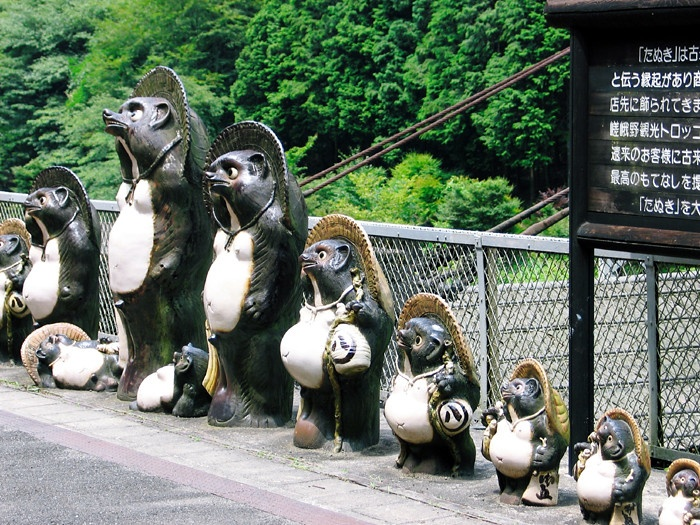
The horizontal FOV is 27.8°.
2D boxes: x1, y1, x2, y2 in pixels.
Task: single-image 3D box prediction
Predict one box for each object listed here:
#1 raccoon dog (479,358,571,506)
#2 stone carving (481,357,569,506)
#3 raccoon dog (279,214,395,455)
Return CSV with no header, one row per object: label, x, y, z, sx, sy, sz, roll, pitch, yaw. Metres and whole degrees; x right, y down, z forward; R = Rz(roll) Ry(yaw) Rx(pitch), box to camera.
raccoon dog,1.535,1.438,12.746,0.733,1.247,0.990,6,10,40
stone carving,1.527,1.439,12.740,0.716,1.255,0.971,6,10,40
raccoon dog,-0.082,0.678,13.904,0.945,2.363,1.013,-8,12,-41
